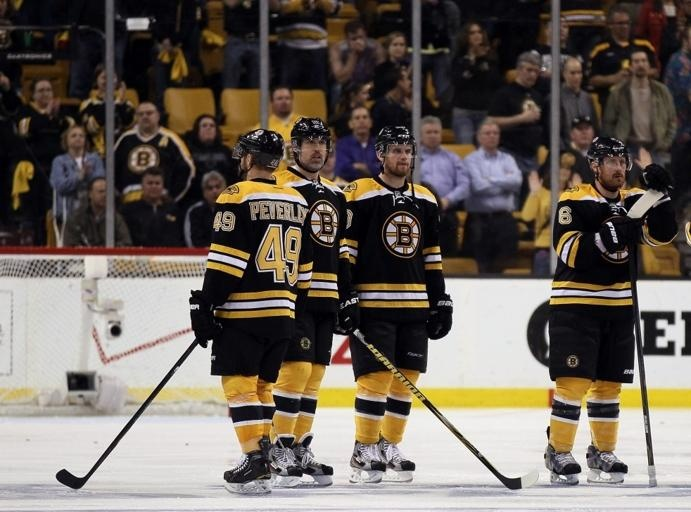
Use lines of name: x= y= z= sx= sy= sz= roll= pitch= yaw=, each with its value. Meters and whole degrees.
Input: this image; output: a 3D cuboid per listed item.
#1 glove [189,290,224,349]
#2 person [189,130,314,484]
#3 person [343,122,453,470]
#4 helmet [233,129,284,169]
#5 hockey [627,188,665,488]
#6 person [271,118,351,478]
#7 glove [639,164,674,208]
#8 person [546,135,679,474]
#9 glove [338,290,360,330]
glove: x=-0.971 y=0.436 z=10.700 sx=0.228 sy=0.401 sz=0.181 roll=0 pitch=4 yaw=-16
person: x=-0.673 y=0.374 z=10.807 sx=0.740 sy=2.492 sz=0.504 roll=1 pitch=4 yaw=6
person: x=0.344 y=0.353 z=11.314 sx=0.931 sy=2.584 sz=0.542 roll=3 pitch=-5 yaw=-25
helmet: x=-0.622 y=-0.728 z=10.958 sx=0.368 sy=0.357 sz=0.306 roll=14 pitch=8 yaw=15
hockey: x=2.162 y=0.600 z=11.061 sx=0.222 sy=2.184 sz=0.231 roll=-1 pitch=4 yaw=-8
person: x=-0.274 y=0.355 z=11.194 sx=0.792 sy=2.685 sz=0.533 roll=4 pitch=-4 yaw=-36
glove: x=2.218 y=-0.527 z=11.016 sx=0.197 sy=0.242 sz=0.143 roll=2 pitch=4 yaw=10
person: x=1.871 y=0.394 z=11.086 sx=0.935 sy=2.557 sz=0.780 roll=3 pitch=0 yaw=35
glove: x=0.027 y=0.385 z=11.046 sx=0.092 sy=0.253 sz=0.179 roll=6 pitch=-10 yaw=-24
